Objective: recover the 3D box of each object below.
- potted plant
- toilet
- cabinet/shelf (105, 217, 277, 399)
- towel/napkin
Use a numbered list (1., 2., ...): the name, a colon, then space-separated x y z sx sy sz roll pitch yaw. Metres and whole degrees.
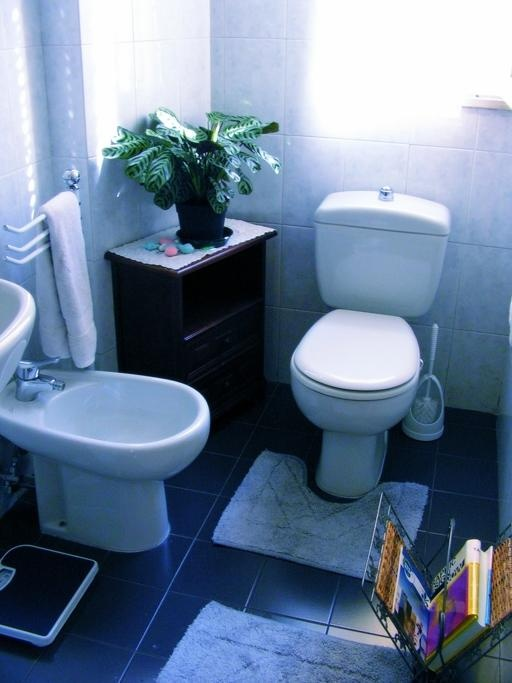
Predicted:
1. potted plant: -0.140 -0.497 1.654 0.382 0.386 0.670 9 30 19
2. toilet: 0.323 -0.010 1.665 0.417 0.779 0.744 8 29 18
3. cabinet/shelf: -0.199 -0.094 1.831 0.297 0.506 0.509 20 30 31
4. towel/napkin: -0.472 -0.136 1.345 0.102 0.434 0.160 10 29 20
